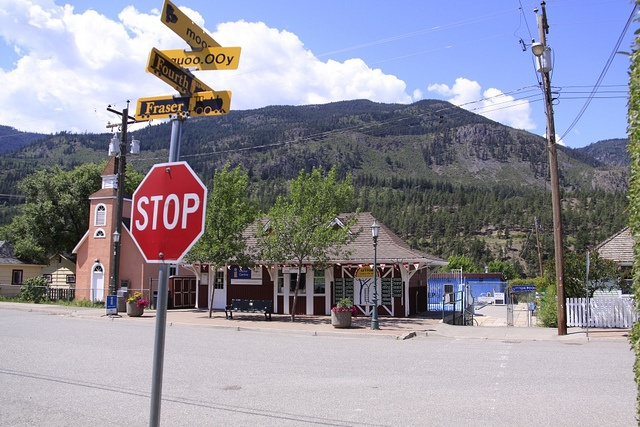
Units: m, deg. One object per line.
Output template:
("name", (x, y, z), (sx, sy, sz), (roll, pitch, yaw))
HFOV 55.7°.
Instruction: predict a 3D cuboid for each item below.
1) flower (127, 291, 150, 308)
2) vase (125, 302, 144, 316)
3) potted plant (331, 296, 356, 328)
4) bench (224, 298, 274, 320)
("flower", (-10.808, 5.218, 36.223), (1.244, 0.967, 1.345), (8, -8, -31))
("vase", (-11.049, 5.689, 35.803), (0.872, 0.743, 0.874), (0, -15, -5))
("potted plant", (1.230, 5.286, 32.356), (1.279, 1.563, 1.305), (0, -13, 25))
("bench", (-4.148, 5.707, 36.105), (2.852, 1.233, 1.423), (-7, -13, 32))
